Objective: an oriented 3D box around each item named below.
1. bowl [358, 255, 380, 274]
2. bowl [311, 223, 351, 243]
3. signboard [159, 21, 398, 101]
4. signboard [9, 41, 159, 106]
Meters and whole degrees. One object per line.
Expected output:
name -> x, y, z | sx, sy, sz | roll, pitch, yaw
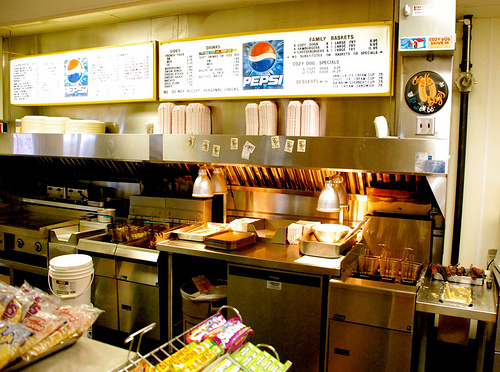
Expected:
bowl -> 1.069, 0.693, 3.499 | 0.167, 0.139, 0.149 | 1, 2, 9
bowl -> 0.756, 0.465, 3.815 | 0.360, 0.131, 0.424 | 2, 5, 27
signboard -> 0.081, -1.332, 4.353 | 2.794, 0.773, 0.037 | 7, 16, 30
signboard -> -2.184, -1.424, 5.117 | 2.389, 0.706, 0.093 | 2, 4, 21
